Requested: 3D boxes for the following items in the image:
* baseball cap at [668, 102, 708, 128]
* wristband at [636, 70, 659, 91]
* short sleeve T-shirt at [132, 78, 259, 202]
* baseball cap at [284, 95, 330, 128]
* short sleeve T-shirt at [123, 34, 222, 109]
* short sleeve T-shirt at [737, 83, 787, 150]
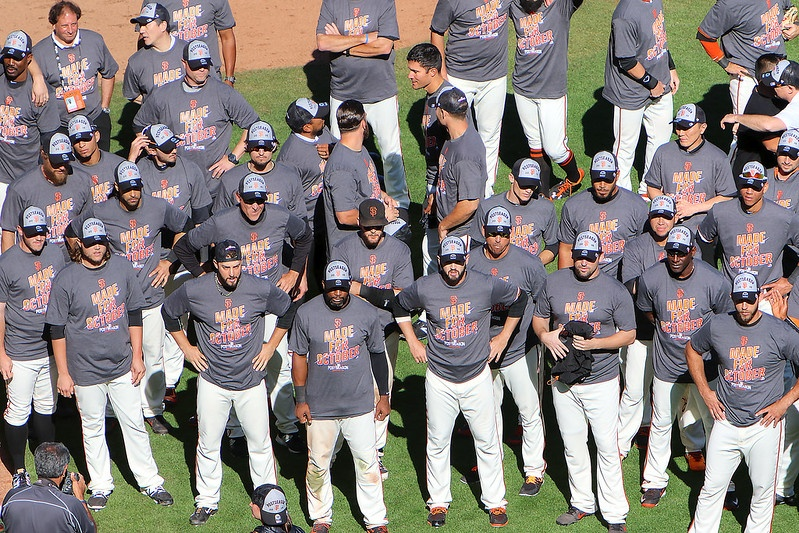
[{"bbox_3d":[4.155,-2.134,12.368,0.458,0.263,0.324,-1,13,-12],"label":"baseball cap"},{"bbox_3d":[4.094,-3.059,14.388,0.229,0.244,0.296,28,35,28],"label":"wristband"},{"bbox_3d":[-3.005,-1.802,12.755,1.812,1.656,0.678,-5,23,-10],"label":"short sleeve T-shirt"},{"bbox_3d":[-1.334,-2.204,12.635,0.541,0.297,0.386,-26,40,3],"label":"baseball cap"},{"bbox_3d":[-3.501,-3.012,13.596,1.416,1.173,0.521,-17,50,-7],"label":"short sleeve T-shirt"},{"bbox_3d":[5.429,-2.190,12.982,0.423,0.460,1.358,-1,-14,10],"label":"short sleeve T-shirt"}]
